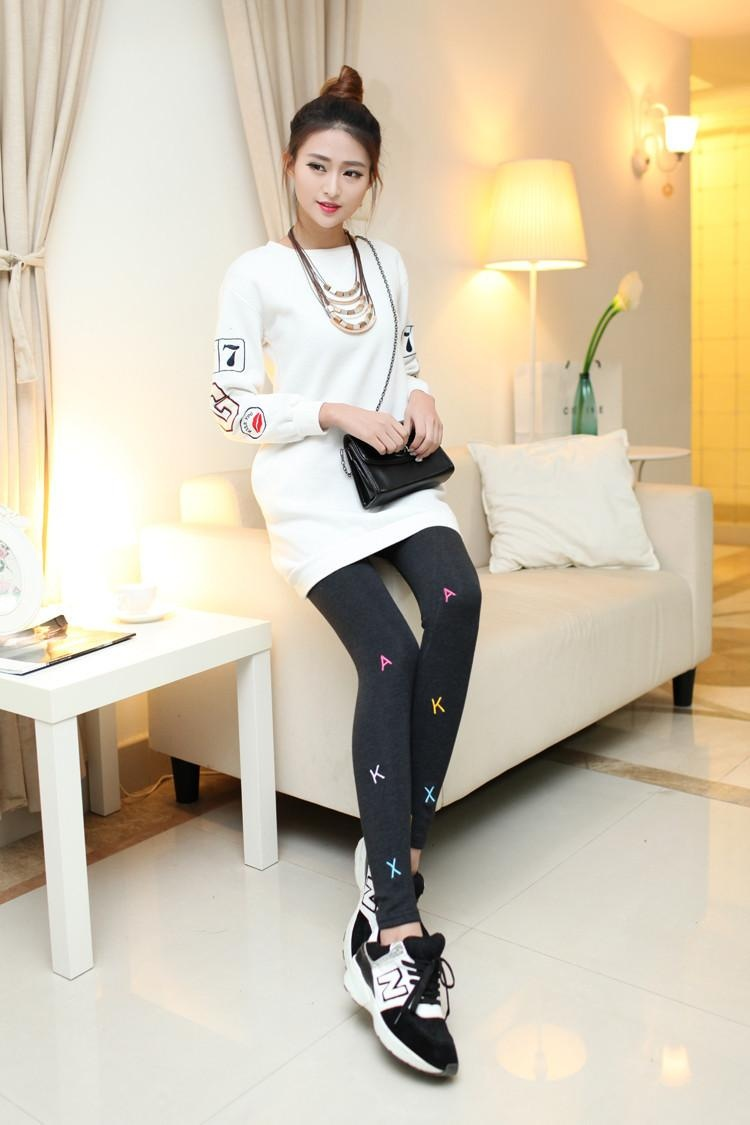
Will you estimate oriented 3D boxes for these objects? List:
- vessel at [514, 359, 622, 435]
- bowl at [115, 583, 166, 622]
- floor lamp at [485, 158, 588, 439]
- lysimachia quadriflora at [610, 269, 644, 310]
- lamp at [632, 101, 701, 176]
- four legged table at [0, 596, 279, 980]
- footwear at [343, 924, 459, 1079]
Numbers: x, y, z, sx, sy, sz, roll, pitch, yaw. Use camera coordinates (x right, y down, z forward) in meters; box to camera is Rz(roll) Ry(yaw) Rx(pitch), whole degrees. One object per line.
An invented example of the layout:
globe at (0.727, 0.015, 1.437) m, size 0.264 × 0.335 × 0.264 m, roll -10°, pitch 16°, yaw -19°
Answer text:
vessel at (0.746, -0.661, 3.429) m, size 0.432 × 0.275 × 0.143 m, roll -16°, pitch 22°, yaw -41°
bowl at (-0.439, 0.062, 1.618) m, size 0.078 × 0.036 × 0.079 m, roll -1°, pitch 12°, yaw 0°
floor lamp at (0.615, -0.982, 3.294) m, size 0.344 × 1.001 × 0.455 m, roll 0°, pitch 5°, yaw 28°
lysimachia quadriflora at (0.931, -1.023, 3.219) m, size 0.089 × 0.163 × 0.232 m, roll -1°, pitch 5°, yaw 15°
lamp at (1.401, -2.048, 4.176) m, size 0.271 × 0.387 × 0.177 m, roll 15°, pitch 42°, yaw 27°
four legged table at (-0.508, 0.318, 1.570) m, size 0.497 × 0.499 × 0.505 m, roll 8°, pitch 15°, yaw 34°
footwear at (0.039, 0.505, 1.047) m, size 0.078 × 0.098 × 0.200 m, roll 25°, pitch 11°, yaw -46°
